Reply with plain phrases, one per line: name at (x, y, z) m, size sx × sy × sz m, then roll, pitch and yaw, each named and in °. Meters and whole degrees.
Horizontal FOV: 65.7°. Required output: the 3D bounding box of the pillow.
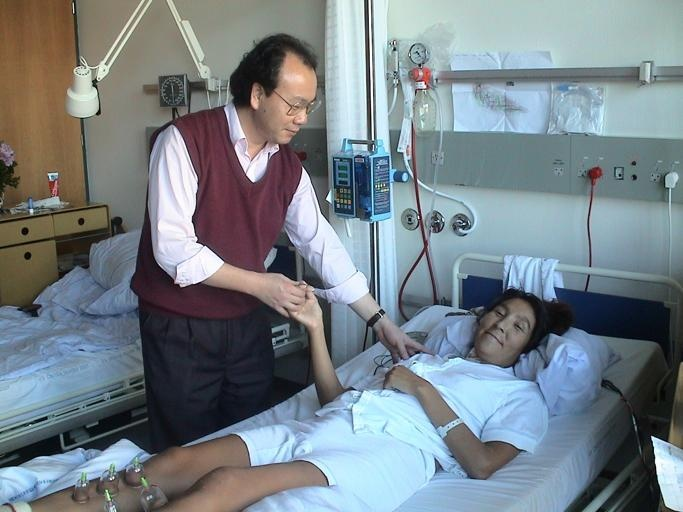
pillow at (0.722, 0.427, 2.149) m, size 0.466 × 0.205 × 0.458 m, roll 10°, pitch 23°, yaw 34°

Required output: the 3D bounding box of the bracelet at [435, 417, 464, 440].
bracelet at (0.356, 0.565, 1.751) m, size 0.065 × 0.027 × 0.066 m, roll -33°, pitch 8°, yaw 4°

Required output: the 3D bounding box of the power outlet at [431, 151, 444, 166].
power outlet at (0.494, -0.508, 2.731) m, size 0.062 × 0.064 × 0.016 m, roll 8°, pitch 10°, yaw 40°
